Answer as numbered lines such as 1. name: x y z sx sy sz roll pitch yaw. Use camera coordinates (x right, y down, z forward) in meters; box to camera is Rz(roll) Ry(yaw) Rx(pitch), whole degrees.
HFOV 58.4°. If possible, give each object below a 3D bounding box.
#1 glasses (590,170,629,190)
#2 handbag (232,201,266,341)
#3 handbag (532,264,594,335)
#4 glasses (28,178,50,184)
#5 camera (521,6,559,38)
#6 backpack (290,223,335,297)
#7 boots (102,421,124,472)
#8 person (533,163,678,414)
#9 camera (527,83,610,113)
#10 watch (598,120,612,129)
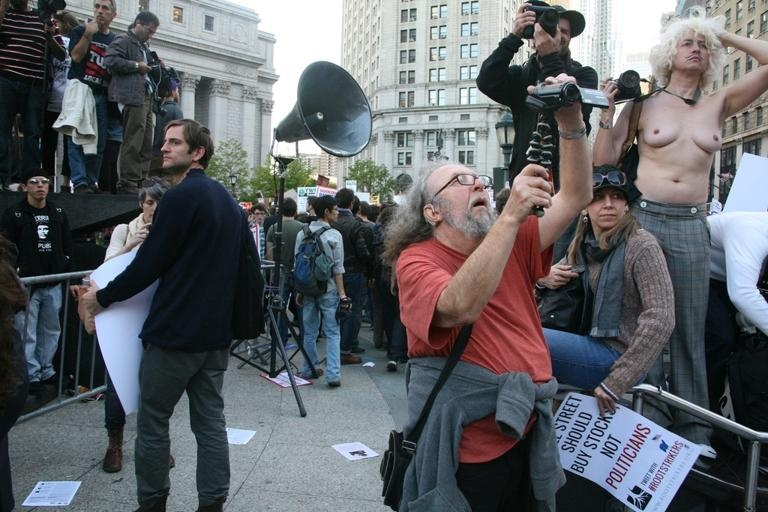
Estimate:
1. glasses: 1.828 -0.612 5.587 0.213 0.089 0.216 0 -22 9
2. handbag: -1.210 0.231 6.152 0.276 1.025 0.264 1 -2 -15
3. handbag: 1.521 0.444 5.945 0.657 0.837 0.463 -1 -11 29
4. glasses: -3.987 -0.851 7.921 0.082 0.068 0.194 8 11 39
5. camera: 1.162 -1.711 5.087 0.268 0.186 0.292 -1 8 -9
6. backpack: -0.955 0.041 9.125 0.418 0.981 0.531 -1 -1 5
7. boots: -2.548 1.780 6.476 0.170 0.393 0.412 8 12 -15
8. person: 1.748 0.307 5.608 0.880 2.245 0.964 -3 -1 9
9. camera: 1.185 -1.011 4.426 0.543 0.186 0.159 1 8 -2
10. watch: 1.921 -1.126 5.938 0.075 0.030 0.080 10 9 -17
